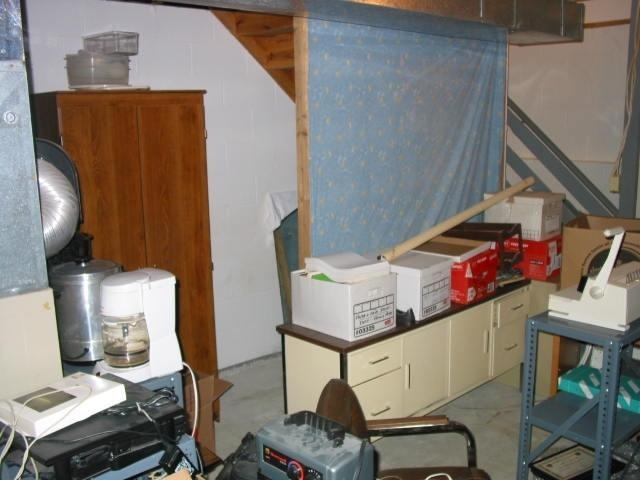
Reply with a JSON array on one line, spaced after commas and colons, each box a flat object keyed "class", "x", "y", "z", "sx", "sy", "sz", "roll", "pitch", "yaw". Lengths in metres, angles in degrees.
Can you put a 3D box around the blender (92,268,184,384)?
[{"class": "blender", "x": -0.870, "y": 0.392, "z": 3.214, "sx": 0.382, "sy": 0.659, "sz": 0.505, "roll": 8, "pitch": 8, "yaw": 42}]
